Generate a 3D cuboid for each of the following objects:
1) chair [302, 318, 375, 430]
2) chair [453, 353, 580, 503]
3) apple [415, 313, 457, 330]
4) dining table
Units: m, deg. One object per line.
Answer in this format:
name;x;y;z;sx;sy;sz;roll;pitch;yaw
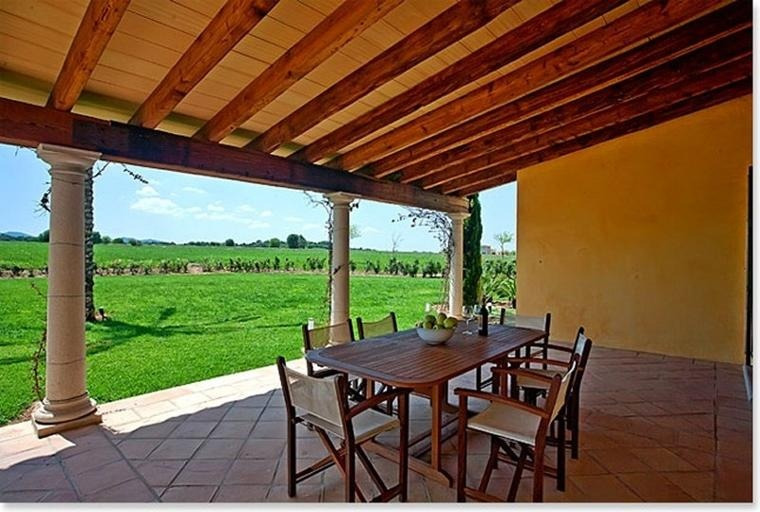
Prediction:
chair;-0.543;1.054;4.991;0.650;0.662;0.921;-27;1;-16
chair;1.247;1.603;4.212;0.990;1.148;1.152;0;-3;25
apple;0.558;0.675;4.762;0.250;0.130;0.251;1;-4;-19
dining table;0.755;1.401;4.986;2.778;0.981;1.480;-3;3;-44
